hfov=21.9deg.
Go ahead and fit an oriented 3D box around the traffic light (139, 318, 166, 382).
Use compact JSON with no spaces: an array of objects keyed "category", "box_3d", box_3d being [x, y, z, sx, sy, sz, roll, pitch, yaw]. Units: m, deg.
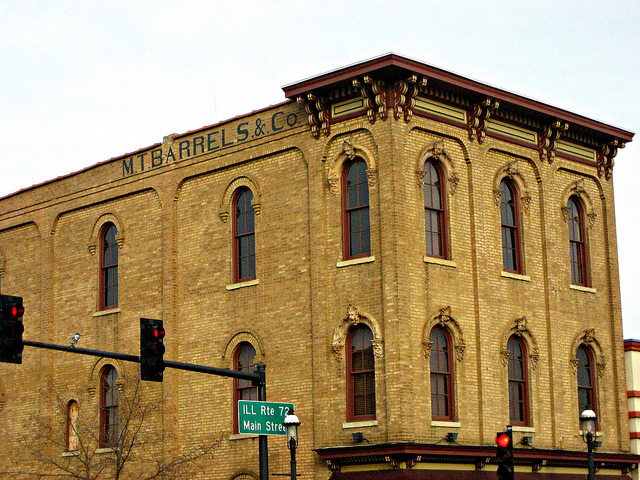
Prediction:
[{"category":"traffic light","box_3d":[-4.619,2.820,45.252,0.682,1.811,0.782,2,-27,-4]}]
